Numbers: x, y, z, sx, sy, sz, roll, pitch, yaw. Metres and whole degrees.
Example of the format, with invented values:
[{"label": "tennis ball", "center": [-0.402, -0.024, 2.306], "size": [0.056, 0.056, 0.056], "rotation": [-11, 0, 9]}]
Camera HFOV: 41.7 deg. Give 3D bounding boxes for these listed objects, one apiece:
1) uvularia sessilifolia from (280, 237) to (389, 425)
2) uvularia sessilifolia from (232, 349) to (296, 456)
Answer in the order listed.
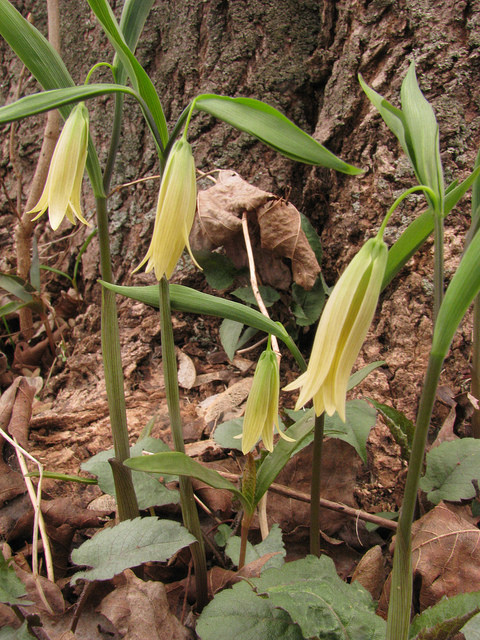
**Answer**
[{"label": "uvularia sessilifolia", "center": [0.194, 0.014, 1.217], "size": [0.120, 0.323, 0.203], "rotation": [11, 32, 29]}, {"label": "uvularia sessilifolia", "center": [0.064, 0.190, 1.556], "size": [0.156, 0.256, 0.129], "rotation": [-1, 19, -10]}]
